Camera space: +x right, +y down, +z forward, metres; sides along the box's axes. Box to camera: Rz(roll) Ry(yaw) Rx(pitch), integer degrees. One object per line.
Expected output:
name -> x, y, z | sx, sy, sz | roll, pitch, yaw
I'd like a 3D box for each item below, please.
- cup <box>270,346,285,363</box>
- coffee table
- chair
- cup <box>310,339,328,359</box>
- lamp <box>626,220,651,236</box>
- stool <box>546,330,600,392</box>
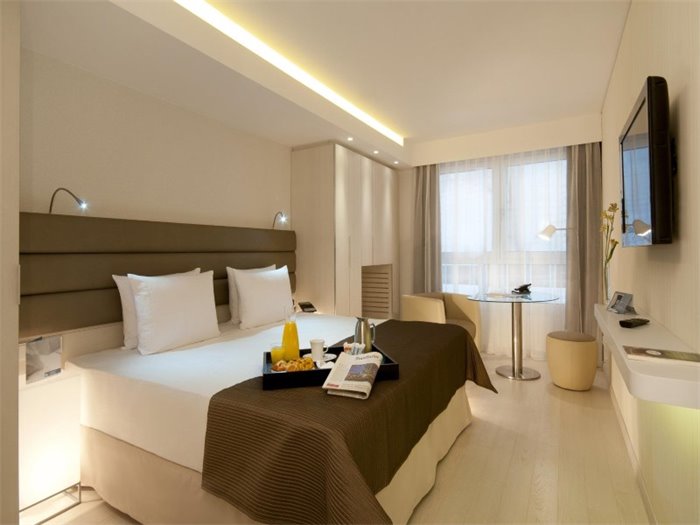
cup -> -0.429, 0.533, 2.825 | 0.070, 0.085, 0.081 | 1, -5, -12
coffee table -> 1.661, 0.721, 4.789 | 0.797, 0.820, 0.836 | -1, 0, -26
chair -> 1.005, 0.561, 5.187 | 0.592, 0.582, 0.558 | 4, -7, -40
cup -> -0.190, 0.520, 2.904 | 0.067, 0.108, 0.108 | -2, -3, 1
lamp -> 1.645, -0.197, 2.733 | 0.085, 0.109, 0.110 | -16, 5, -36
stool -> 2.077, 0.881, 4.492 | 0.411, 0.544, 0.471 | -2, 10, 18
